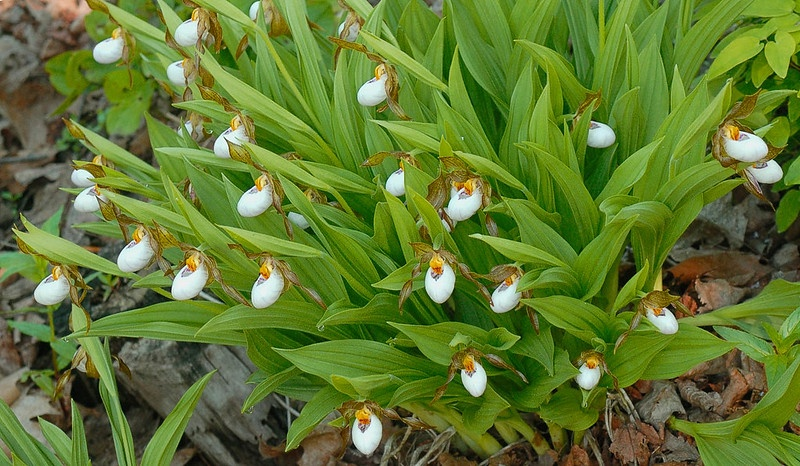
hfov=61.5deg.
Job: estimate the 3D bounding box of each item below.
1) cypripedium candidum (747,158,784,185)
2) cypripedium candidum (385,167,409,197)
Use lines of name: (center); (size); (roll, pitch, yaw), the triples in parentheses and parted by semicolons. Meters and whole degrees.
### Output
cypripedium candidum: (2.660, -0.435, 4.868); (0.221, 0.119, 0.134); (-21, 60, 4)
cypripedium candidum: (-0.026, -0.362, 5.014); (0.147, 0.091, 0.205); (27, 100, 29)
